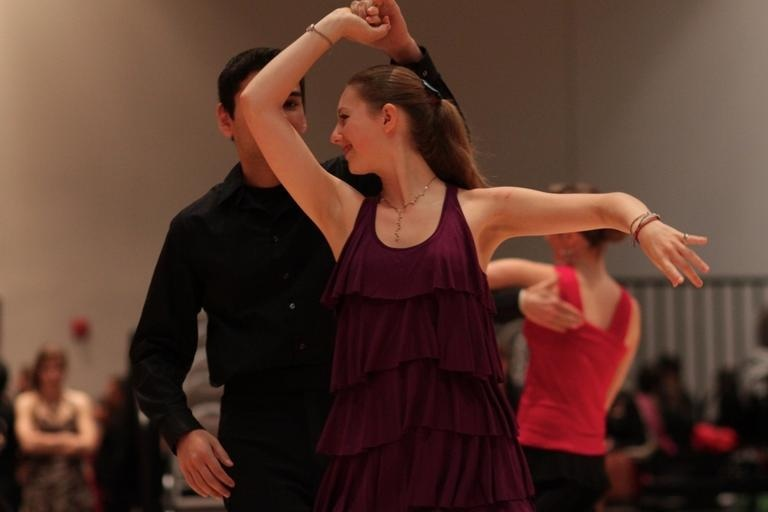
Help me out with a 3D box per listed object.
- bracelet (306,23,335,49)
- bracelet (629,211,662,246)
[{"bbox_3d":[-0.229,-0.796,2.785,0.096,0.036,0.083,38,2,-11],"label":"bracelet"},{"bbox_3d":[0.904,-0.101,2.636,0.088,0.105,0.041,35,-4,23],"label":"bracelet"}]
